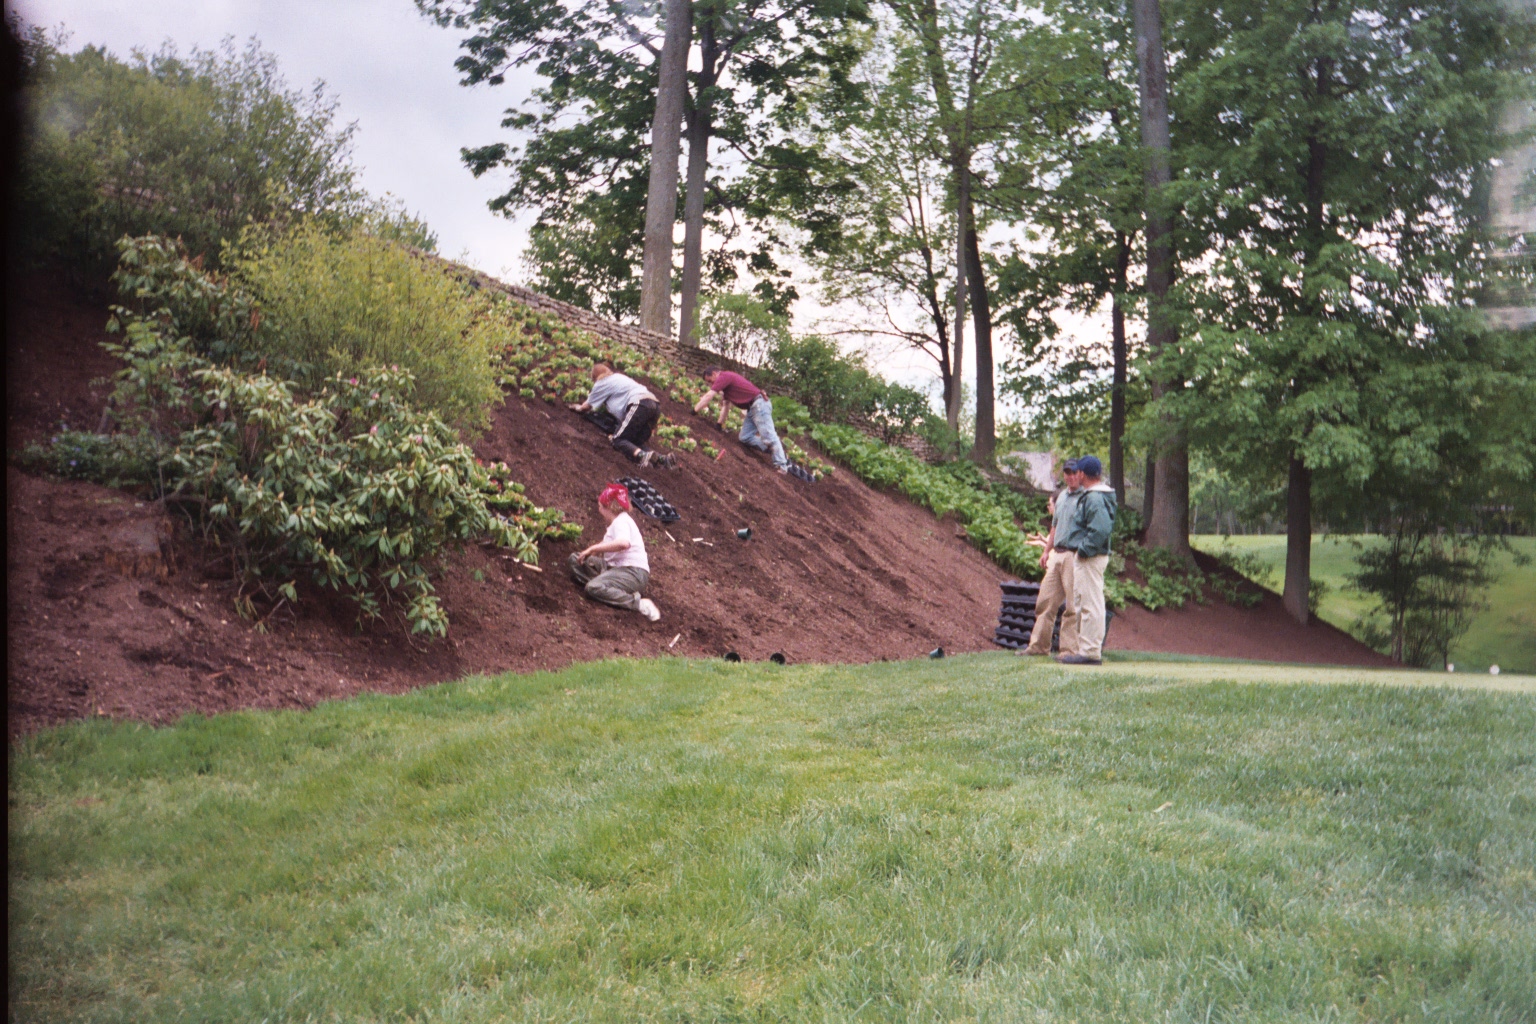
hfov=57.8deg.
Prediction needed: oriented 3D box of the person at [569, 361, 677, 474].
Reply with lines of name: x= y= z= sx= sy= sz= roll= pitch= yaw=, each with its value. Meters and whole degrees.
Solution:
person: x=-2.298 y=-1.430 z=21.611 sx=1.945 sy=0.977 sz=1.072 roll=32 pitch=20 yaw=27

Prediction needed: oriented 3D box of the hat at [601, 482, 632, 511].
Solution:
hat: x=-2.023 y=-0.214 z=18.413 sx=0.201 sy=0.342 sz=0.431 roll=19 pitch=-19 yaw=-36

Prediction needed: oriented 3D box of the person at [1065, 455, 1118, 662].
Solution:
person: x=4.196 y=0.603 z=17.966 sx=0.537 sy=2.541 sz=0.824 roll=1 pitch=0 yaw=14

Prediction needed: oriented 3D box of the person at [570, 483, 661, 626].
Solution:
person: x=-1.952 y=0.556 z=18.347 sx=1.117 sy=1.788 sz=1.256 roll=1 pitch=0 yaw=3

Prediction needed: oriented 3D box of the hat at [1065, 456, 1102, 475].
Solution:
hat: x=4.170 y=-0.631 z=18.183 sx=0.341 sy=0.354 sz=0.273 roll=2 pitch=-4 yaw=41
